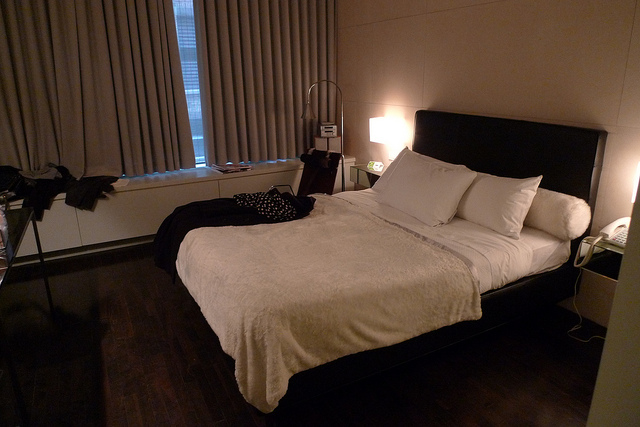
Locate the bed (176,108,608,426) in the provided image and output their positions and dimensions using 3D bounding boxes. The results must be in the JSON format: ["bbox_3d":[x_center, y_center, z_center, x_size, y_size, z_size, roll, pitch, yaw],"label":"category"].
[{"bbox_3d":[0.557,0.216,3.310,2.794,1.787,1.547,-9,22,-31],"label":"bed"}]

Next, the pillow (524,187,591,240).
[{"bbox_3d":[1.786,-0.008,3.327,0.338,0.346,0.491,-11,16,-15],"label":"pillow"}]

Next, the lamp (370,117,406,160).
[{"bbox_3d":[0.719,-0.903,5.050,0.412,0.659,0.445,-1,19,0],"label":"lamp"}]

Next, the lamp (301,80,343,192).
[{"bbox_3d":[-0.027,-1.165,5.257,0.512,1.284,0.356,-4,30,-9],"label":"lamp"}]

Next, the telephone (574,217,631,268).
[{"bbox_3d":[2.087,0.229,3.142,0.428,0.346,0.230,-7,21,-27],"label":"telephone"}]
